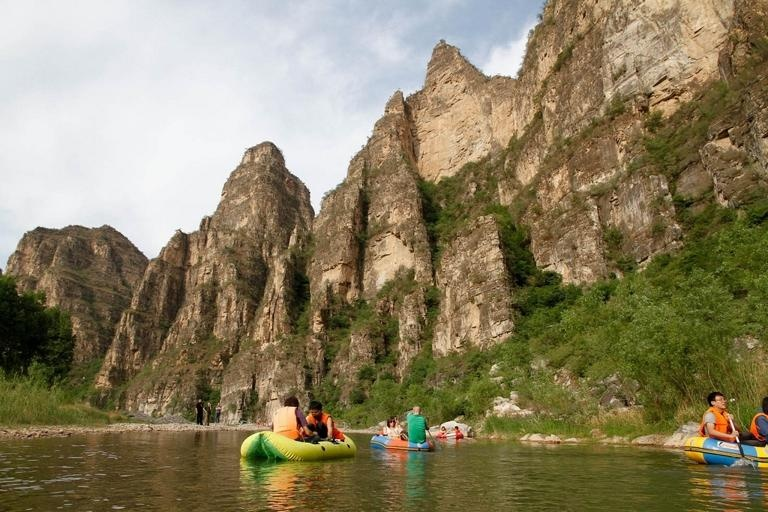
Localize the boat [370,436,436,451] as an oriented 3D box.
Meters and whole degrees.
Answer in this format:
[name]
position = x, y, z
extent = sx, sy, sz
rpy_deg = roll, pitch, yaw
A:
[boat]
position = 0.880, 11.445, 39.584
extent = 1.464, 0.552, 2.742
rpy_deg = 13, -22, -35
